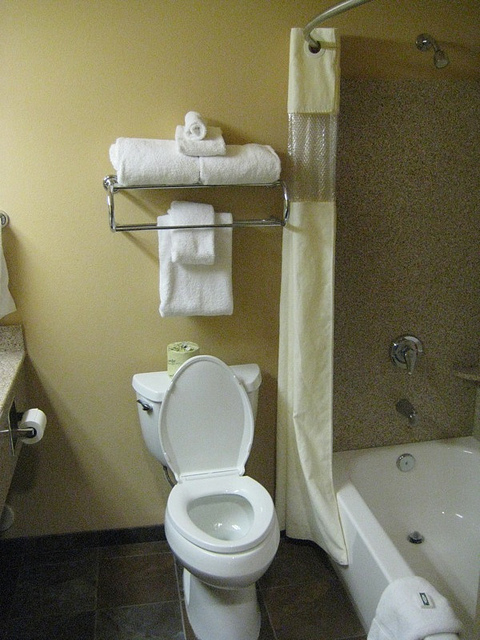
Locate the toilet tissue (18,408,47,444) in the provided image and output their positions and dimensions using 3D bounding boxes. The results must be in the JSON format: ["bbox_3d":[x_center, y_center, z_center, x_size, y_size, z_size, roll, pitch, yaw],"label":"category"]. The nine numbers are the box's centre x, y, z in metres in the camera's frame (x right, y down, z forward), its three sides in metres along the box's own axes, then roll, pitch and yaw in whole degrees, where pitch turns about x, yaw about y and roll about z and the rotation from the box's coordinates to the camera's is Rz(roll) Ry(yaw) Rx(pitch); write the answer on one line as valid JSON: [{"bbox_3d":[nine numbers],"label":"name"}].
[{"bbox_3d":[-0.594,0.304,1.551,0.094,0.089,0.111,-2,14,-16],"label":"toilet tissue"}]

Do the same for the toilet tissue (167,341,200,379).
[{"bbox_3d":[-0.195,0.130,1.770,0.103,0.113,0.112,-1,12,-8],"label":"toilet tissue"}]

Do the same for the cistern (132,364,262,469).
[{"bbox_3d":[-0.190,0.324,1.839,0.366,0.276,0.212,-2,18,-17],"label":"cistern"}]

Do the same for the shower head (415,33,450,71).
[{"bbox_3d":[0.633,-0.891,1.727,0.112,0.108,0.124,6,13,20],"label":"shower head"}]

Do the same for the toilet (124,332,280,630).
[{"bbox_3d":[-0.074,0.591,1.699,0.467,0.685,0.708,-4,12,-16],"label":"toilet"}]
